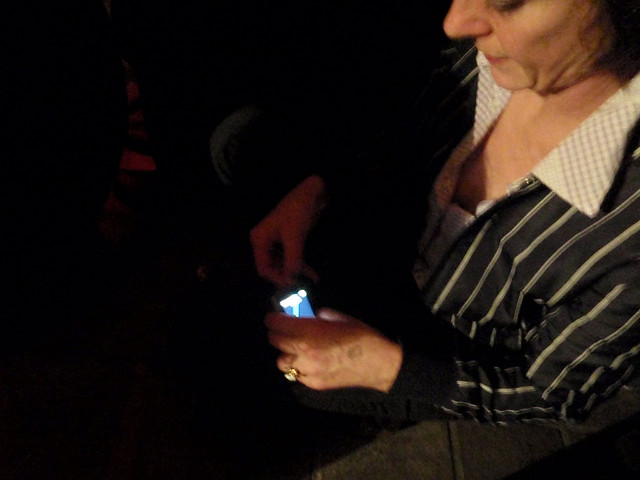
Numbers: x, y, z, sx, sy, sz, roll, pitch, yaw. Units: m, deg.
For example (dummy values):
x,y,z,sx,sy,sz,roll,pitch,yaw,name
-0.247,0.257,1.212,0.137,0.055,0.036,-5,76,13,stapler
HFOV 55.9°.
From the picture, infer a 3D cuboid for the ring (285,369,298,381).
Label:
x,y,z,sx,sy,sz,roll,pitch,yaw,name
-0.102,0.471,2.115,0.038,0.039,0.016,27,22,16,ring
